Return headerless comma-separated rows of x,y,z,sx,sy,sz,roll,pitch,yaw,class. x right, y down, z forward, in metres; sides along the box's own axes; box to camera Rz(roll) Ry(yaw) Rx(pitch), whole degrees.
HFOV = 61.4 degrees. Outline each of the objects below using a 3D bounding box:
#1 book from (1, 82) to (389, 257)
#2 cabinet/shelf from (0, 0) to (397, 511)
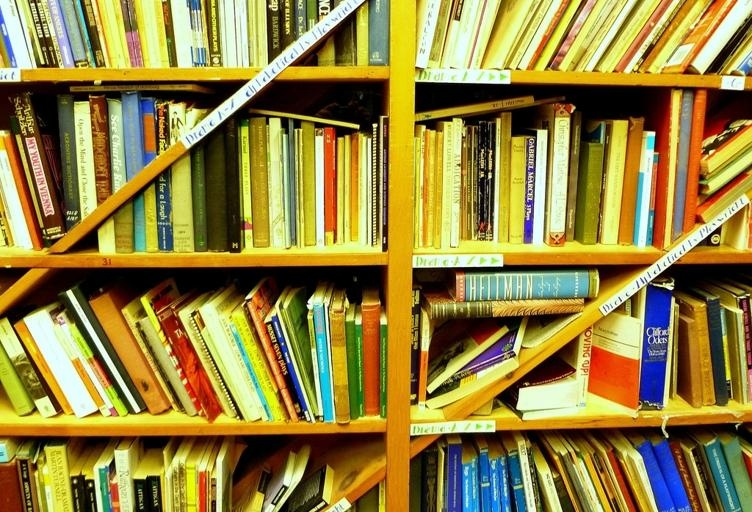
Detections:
-0.288,-0.214,1.952,0.880,0.433,0.477,0,-84,0,book
-0.472,-0.366,2.019,1.142,0.524,0.720,-8,-65,4,cabinet/shelf
